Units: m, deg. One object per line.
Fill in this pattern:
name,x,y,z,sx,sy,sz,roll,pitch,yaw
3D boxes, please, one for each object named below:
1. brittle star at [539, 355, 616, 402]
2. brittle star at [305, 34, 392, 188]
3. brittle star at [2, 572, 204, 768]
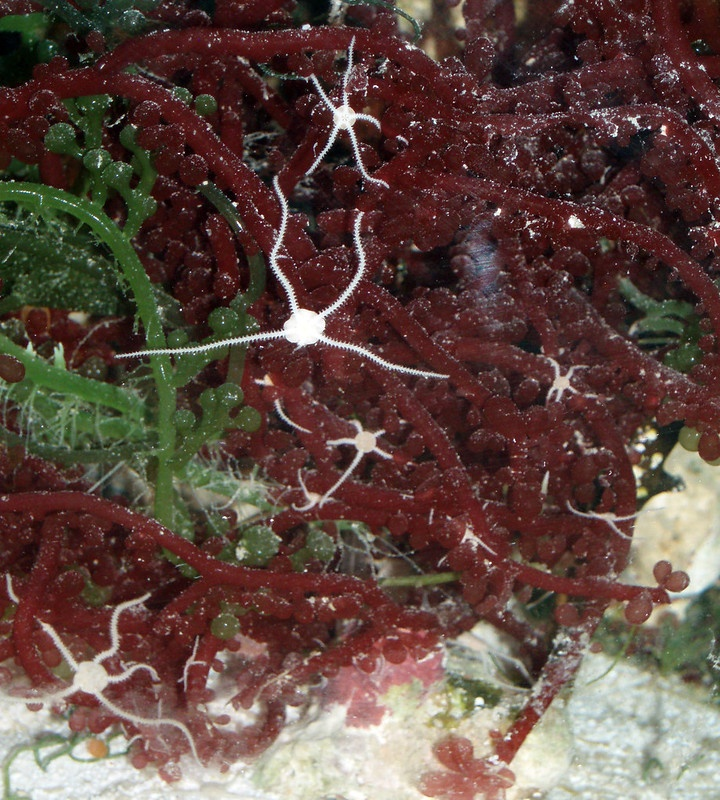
brittle star,0.273,-0.024,1.255,0.084,0.045,0.043,7,46,-10
brittle star,-0.015,-0.351,1.213,0.085,0.173,0.148,-3,49,-22
brittle star,-0.305,0.352,1.262,0.282,0.178,0.135,17,45,0
